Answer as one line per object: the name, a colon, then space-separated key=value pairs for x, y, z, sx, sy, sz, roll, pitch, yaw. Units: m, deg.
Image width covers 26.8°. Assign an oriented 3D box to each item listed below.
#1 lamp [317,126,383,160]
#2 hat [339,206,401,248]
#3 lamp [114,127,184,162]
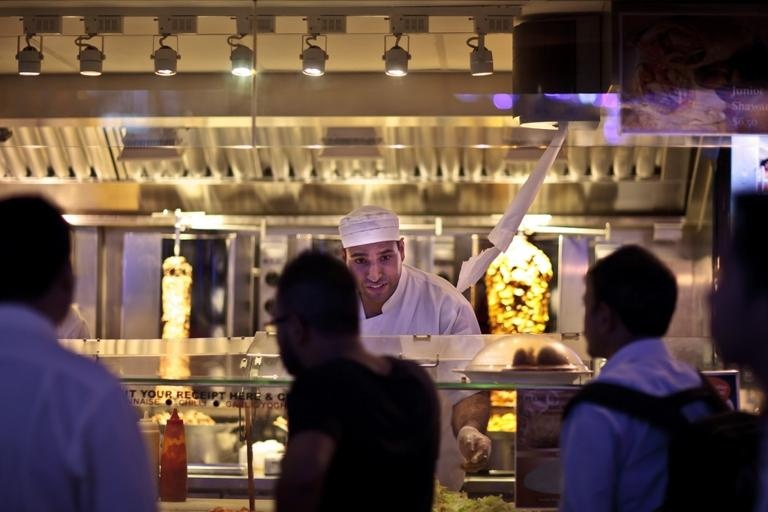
lamp: x=-0.181 y=-0.624 z=9.203 sx=0.222 sy=0.106 sz=0.223 roll=2 pitch=3 yaw=36
hat: x=-0.073 y=-0.166 z=8.843 sx=0.253 sy=0.162 sz=0.249 roll=-9 pitch=4 yaw=-42
lamp: x=-1.333 y=-0.640 z=9.224 sx=0.357 sy=0.167 sz=0.176 roll=0 pitch=-2 yaw=-7
